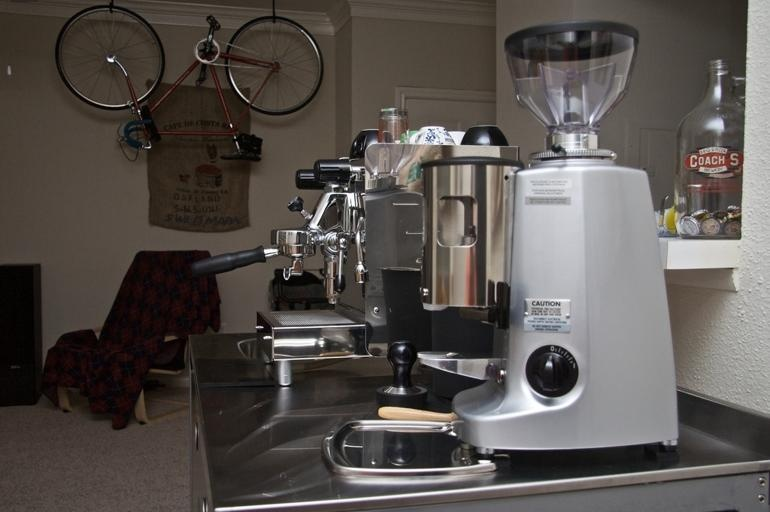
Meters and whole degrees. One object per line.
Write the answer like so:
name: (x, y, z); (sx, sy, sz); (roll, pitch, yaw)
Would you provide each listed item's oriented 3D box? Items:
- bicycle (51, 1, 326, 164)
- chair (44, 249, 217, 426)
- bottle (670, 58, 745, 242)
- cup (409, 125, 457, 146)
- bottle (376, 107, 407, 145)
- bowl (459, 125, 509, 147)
bicycle: (-1.441, -1.317, 5.187); (1.802, 1.204, 1.088); (0, 4, -9)
chair: (-1.636, 0.500, 4.198); (0.834, 1.000, 1.019); (3, 6, 13)
bottle: (0.741, -0.241, 1.476); (0.151, 0.389, 0.151); (0, 15, 0)
cup: (0.110, -0.282, 1.578); (0.083, 0.036, 0.064); (1, 3, 36)
bottle: (0.025, -0.325, 1.680); (0.089, 0.100, 0.093); (1, 3, 31)
bowl: (0.242, -0.285, 1.558); (0.075, 0.036, 0.074); (0, -2, 0)
